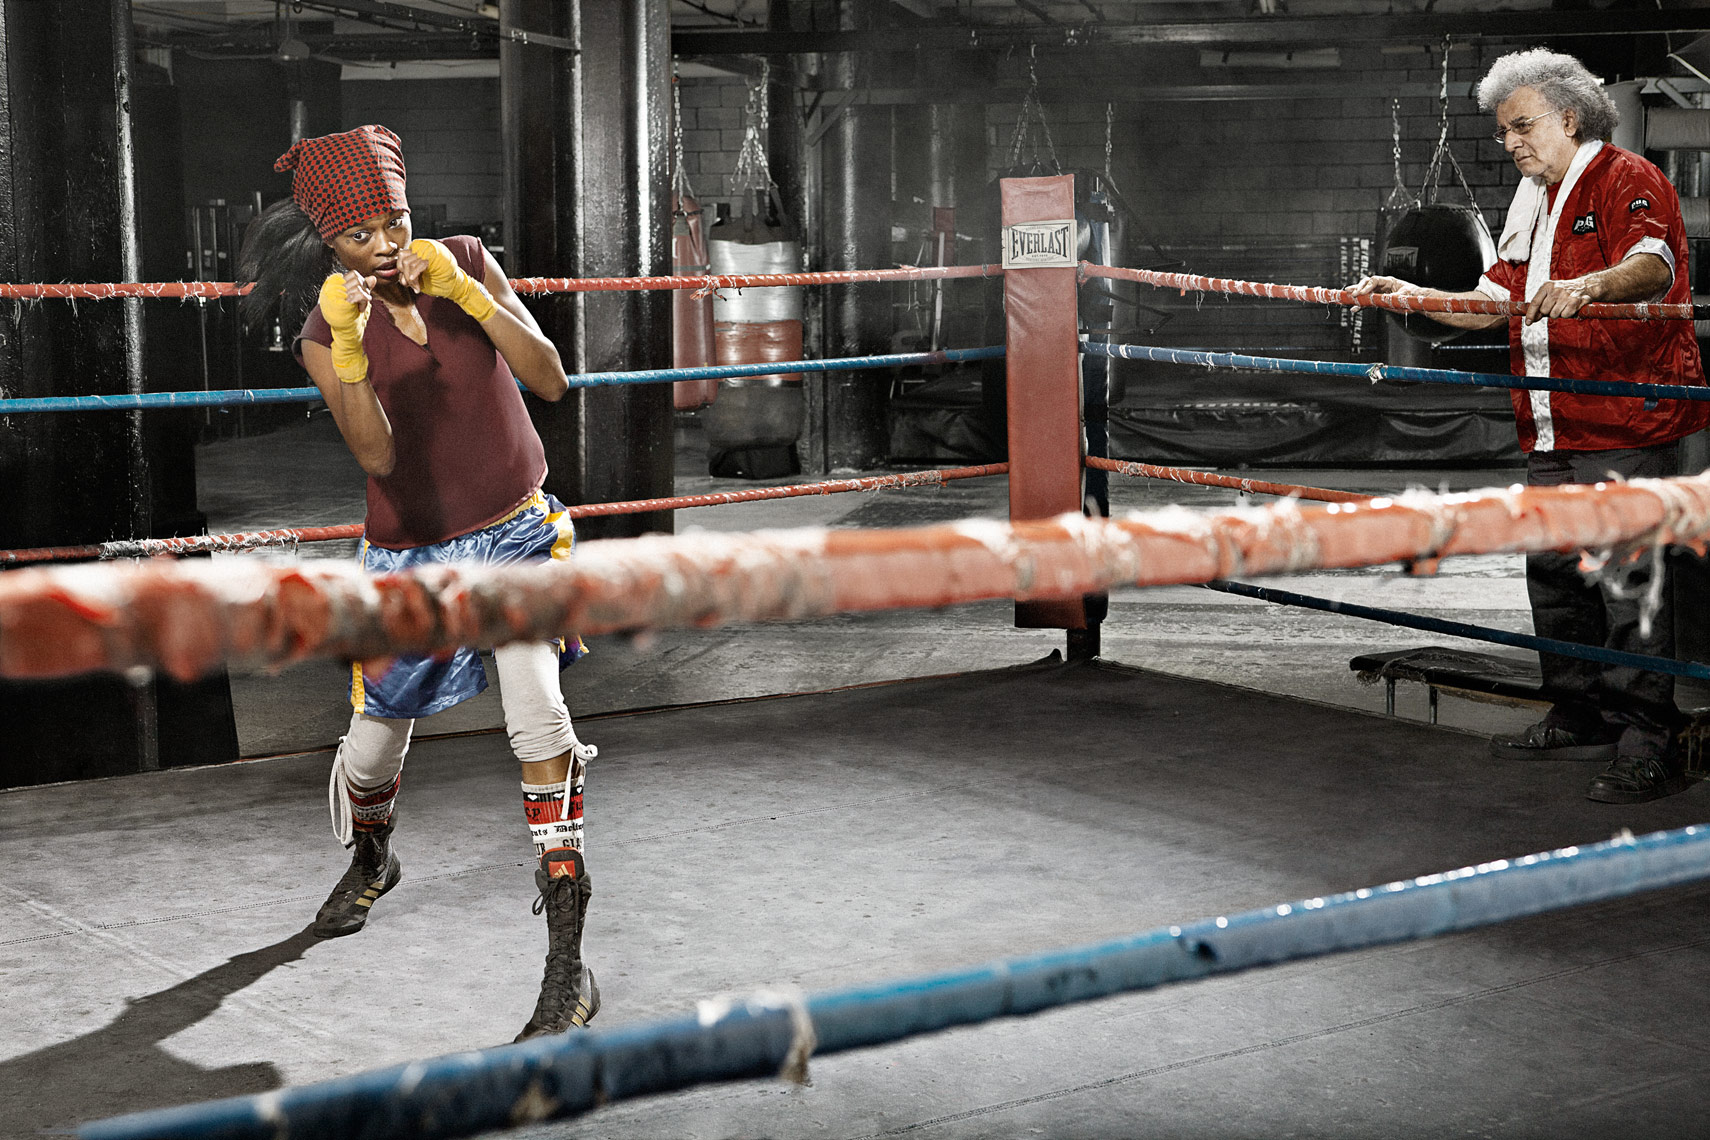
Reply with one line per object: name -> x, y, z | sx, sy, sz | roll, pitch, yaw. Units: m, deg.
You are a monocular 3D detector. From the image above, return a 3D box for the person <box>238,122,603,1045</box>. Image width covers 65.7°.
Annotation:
person -> -0.707, 0.004, 2.315 | 0.527, 1.572, 0.928 | -8, -6, -22

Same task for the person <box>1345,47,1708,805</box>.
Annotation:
person -> 1.825, -0.378, 3.289 | 0.712, 1.625, 0.753 | -10, -6, -4

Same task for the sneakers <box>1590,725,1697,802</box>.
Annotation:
sneakers -> 1.941, 0.479, 3.248 | 0.418, 0.135, 0.125 | -3, 0, -26

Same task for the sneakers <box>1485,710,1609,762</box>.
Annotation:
sneakers -> 1.857, 0.445, 3.511 | 0.358, 0.116, 0.112 | 0, 2, 0
